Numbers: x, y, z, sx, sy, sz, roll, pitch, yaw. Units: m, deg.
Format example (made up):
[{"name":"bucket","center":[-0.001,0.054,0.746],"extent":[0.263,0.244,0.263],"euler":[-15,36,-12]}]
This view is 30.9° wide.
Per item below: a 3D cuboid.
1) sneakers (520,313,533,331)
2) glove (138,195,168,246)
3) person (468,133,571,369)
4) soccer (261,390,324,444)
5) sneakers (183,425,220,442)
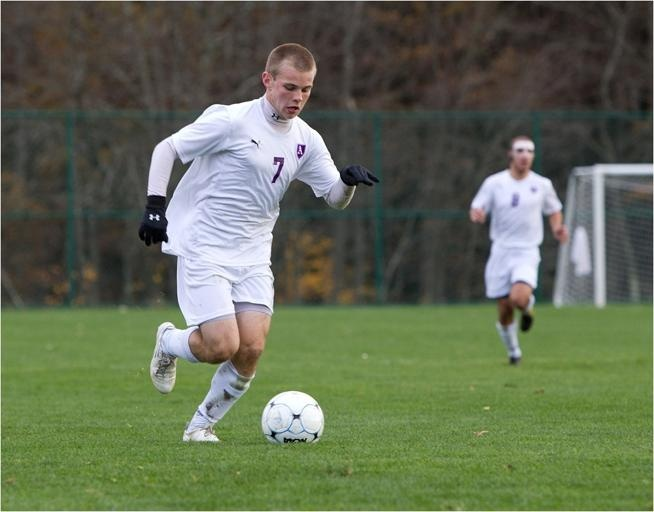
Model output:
[{"name":"sneakers","center":[2.529,0.822,15.017],"extent":[0.110,0.339,0.140],"euler":[6,5,17]},{"name":"glove","center":[-1.725,-0.357,11.789],"extent":[0.275,0.496,0.251],"euler":[-2,10,-9]},{"name":"person","center":[2.349,-0.106,14.742],"extent":[0.915,2.662,1.152],"euler":[3,11,21]},{"name":"soccer","center":[-0.432,1.479,12.017],"extent":[0.518,0.372,0.517],"euler":[37,-5,-10]},{"name":"sneakers","center":[-1.270,1.755,11.982],"extent":[0.377,0.180,0.148],"euler":[0,-3,19]}]
